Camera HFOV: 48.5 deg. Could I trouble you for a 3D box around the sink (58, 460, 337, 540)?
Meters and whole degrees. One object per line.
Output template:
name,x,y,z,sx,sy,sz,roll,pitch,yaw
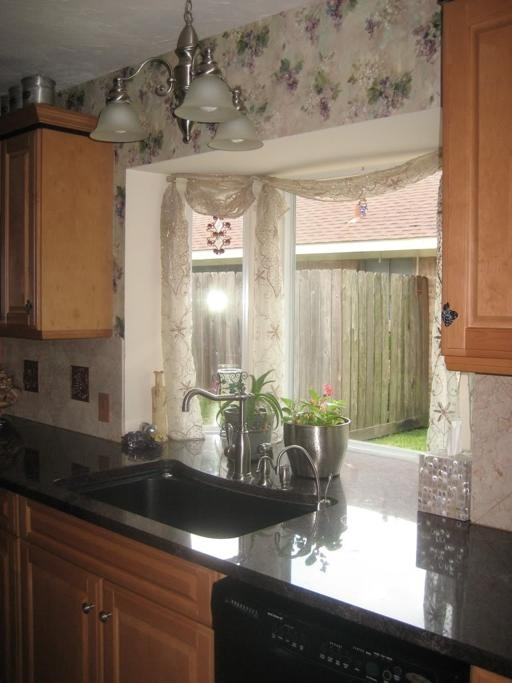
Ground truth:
sink,-0.160,0.566,2.192,0.481,0.254,0.889,21,1,44

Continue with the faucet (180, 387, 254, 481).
faucet,-0.107,0.300,1.873,0.179,0.294,0.371,1,-2,12

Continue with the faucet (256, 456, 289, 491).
faucet,0.054,0.406,1.755,0.100,0.115,0.075,-1,3,-14

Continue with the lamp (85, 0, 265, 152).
lamp,-0.240,-0.859,1.813,0.475,0.551,0.354,-2,-6,33

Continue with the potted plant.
potted plant,-0.024,0.282,2.178,0.206,0.331,0.250,5,-5,7

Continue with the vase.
vase,0.203,0.339,1.852,0.166,0.152,0.187,2,-5,-36

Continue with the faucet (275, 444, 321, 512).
faucet,0.128,0.394,1.625,0.131,0.236,0.056,-7,23,7
